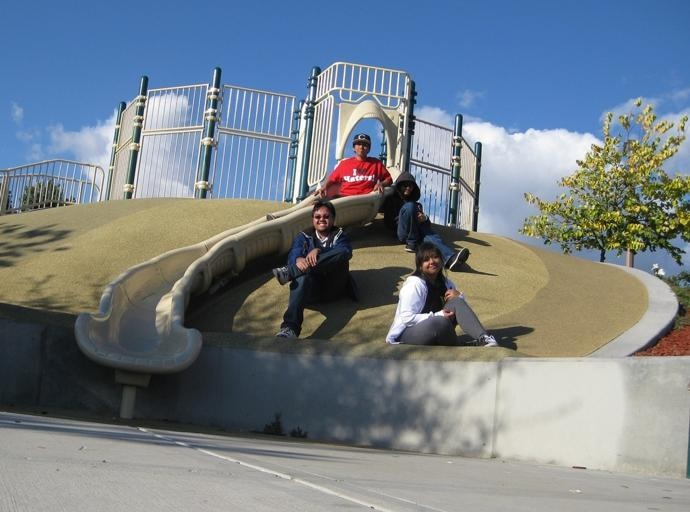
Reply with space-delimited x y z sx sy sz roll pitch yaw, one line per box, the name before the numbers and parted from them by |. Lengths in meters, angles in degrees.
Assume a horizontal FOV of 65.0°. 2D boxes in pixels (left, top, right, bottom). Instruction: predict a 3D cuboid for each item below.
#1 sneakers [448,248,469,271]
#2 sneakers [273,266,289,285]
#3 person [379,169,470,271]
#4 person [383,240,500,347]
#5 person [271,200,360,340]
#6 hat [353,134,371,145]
sneakers | 1.715 0.057 8.162 0.225 0.408 0.162 34 11 -40
sneakers | -0.748 0.223 6.724 0.152 0.125 0.349 -27 -20 10
person | 1.321 -0.676 9.023 0.796 1.308 2.029 -4 20 -24
person | 0.956 0.444 5.469 0.667 1.225 1.235 -6 -4 -28
person | -0.368 0.200 6.914 0.961 2.223 1.574 -1 -19 9
hat | 0.294 -2.065 9.692 0.261 0.216 0.269 0 14 -4
